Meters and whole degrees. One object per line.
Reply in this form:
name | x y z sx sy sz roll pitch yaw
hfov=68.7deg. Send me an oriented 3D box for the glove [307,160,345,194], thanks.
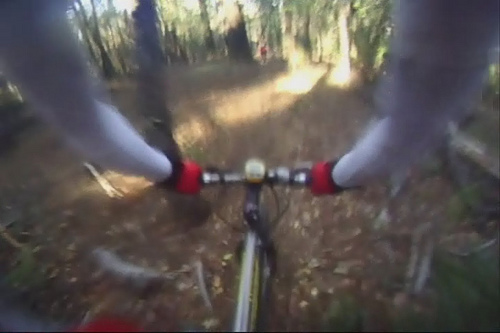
glove | 0.768 0.102 3.759 0.366 0.227 0.260 -4 35 6
